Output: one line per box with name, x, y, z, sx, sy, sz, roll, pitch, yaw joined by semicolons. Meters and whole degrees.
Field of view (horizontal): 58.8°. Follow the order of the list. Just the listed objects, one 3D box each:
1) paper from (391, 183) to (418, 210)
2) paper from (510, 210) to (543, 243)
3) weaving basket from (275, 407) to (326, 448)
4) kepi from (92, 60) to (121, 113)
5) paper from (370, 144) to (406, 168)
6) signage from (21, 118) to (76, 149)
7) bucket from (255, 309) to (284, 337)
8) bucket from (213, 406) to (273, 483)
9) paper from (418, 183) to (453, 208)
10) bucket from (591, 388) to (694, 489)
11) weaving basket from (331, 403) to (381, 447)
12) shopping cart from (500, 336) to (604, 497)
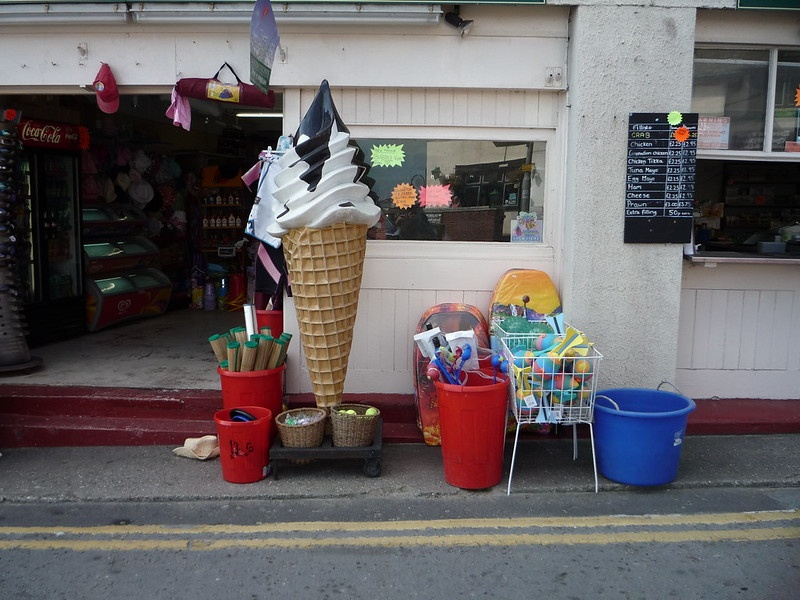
paper;0.055;-1.084;7.363;0.279;0.269;0.015;3;5;-1
paper;1.297;-0.769;7.359;0.345;0.327;0.037;1;-1;2
weaving basket;-0.875;1.143;6.351;0.358;0.210;0.347;-1;3;-5
kepi;-3.073;-2.117;7.302;0.346;0.533;0.171;-14;-33;-5
paper;-0.122;-1.494;7.314;0.280;0.192;0.020;1;16;3
signage;-4.468;-2.105;9.001;0.101;0.180;0.770;-8;5;13
bucket;-1.345;0.241;7.344;0.285;0.207;0.280;0;3;0
bucket;-1.257;1.262;6.356;0.607;0.634;0.597;0;5;0
paper;0.379;-1.087;7.345;0.268;0.188;0.006;1;2;2
bucket;2.098;1.222;6.186;0.803;0.771;0.534;2;9;16
weaving basket;-0.412;1.122;6.314;0.380;0.259;0.377;1;0;-8
shopping cart;1.335;0.935;6.259;0.835;1.394;0.724;1;9;7
